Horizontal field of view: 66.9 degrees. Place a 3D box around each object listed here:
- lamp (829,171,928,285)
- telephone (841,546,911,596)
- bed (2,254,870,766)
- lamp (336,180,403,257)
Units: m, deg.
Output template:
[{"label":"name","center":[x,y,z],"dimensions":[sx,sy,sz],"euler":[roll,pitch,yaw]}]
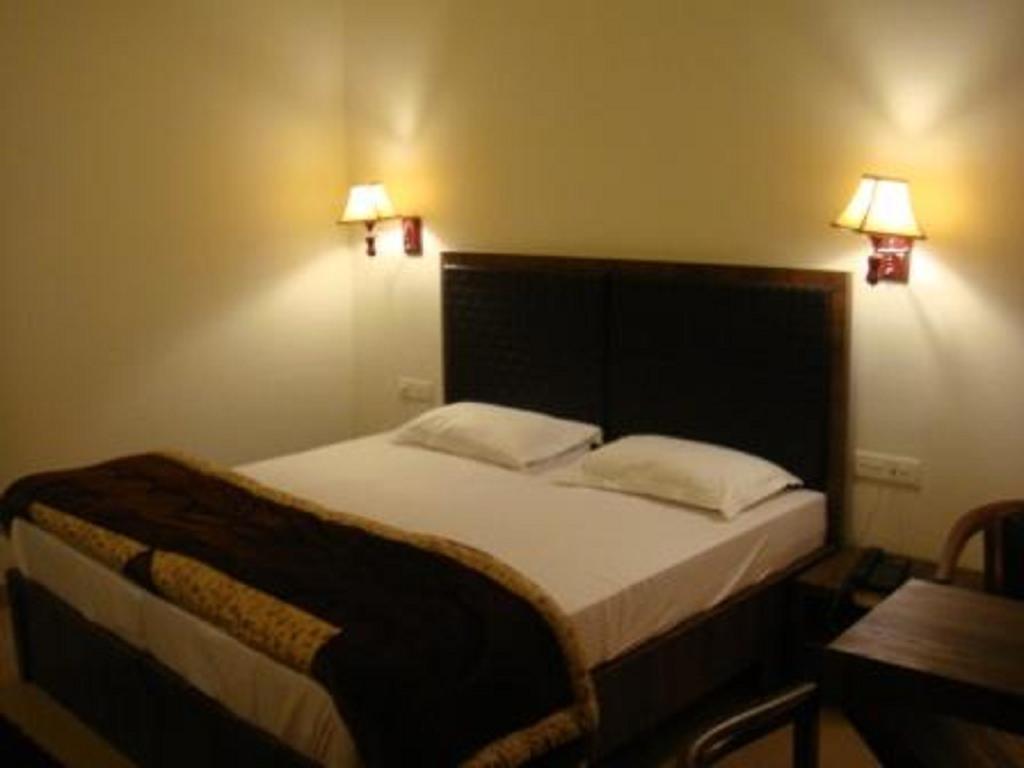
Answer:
[{"label":"lamp","center":[1.446,-0.595,3.060],"dimensions":[0.277,0.453,0.342],"euler":[14,25,37]},{"label":"telephone","center":[1.393,0.700,2.937],"dimensions":[0.164,0.070,0.221],"euler":[10,27,33]},{"label":"bed","center":[-0.274,0.449,2.983],"dimensions":[1.586,1.212,1.734],"euler":[7,14,38]},{"label":"lamp","center":[-0.837,-0.963,4.596],"dimensions":[0.344,0.437,0.414],"euler":[0,11,-9]}]
